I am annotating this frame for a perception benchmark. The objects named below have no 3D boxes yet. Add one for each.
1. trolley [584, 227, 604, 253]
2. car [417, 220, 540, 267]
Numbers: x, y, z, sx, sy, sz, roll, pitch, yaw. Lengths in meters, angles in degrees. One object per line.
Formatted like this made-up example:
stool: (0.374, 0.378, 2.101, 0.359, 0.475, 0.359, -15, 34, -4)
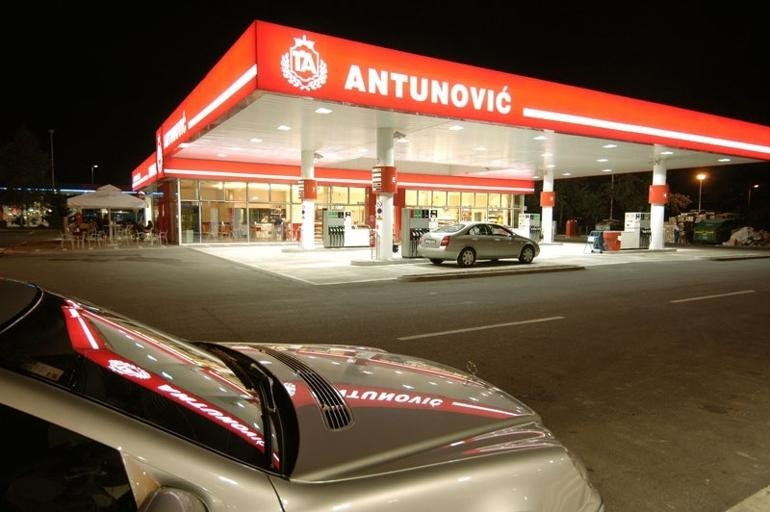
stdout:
trolley: (10.856, -0.614, 27.825, 0.808, 1.269, 2.929, 5, -3, 21)
car: (3.377, -0.444, 19.633, 3.736, 1.166, 1.778, -4, 4, -26)
